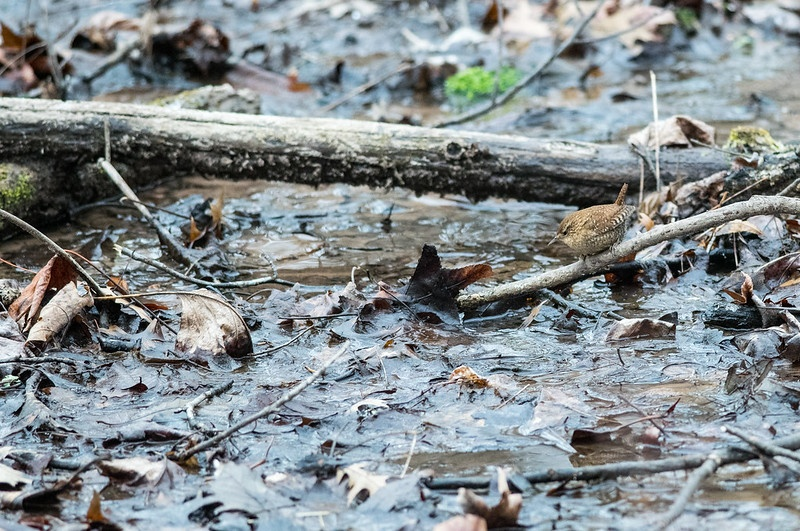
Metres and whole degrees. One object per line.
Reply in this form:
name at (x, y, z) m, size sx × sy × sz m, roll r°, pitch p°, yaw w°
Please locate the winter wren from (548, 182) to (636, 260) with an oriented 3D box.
winter wren at (1.295, -0.267, 5.275) m, size 0.706 × 0.355 × 0.432 m, roll -23°, pitch 101°, yaw -17°
